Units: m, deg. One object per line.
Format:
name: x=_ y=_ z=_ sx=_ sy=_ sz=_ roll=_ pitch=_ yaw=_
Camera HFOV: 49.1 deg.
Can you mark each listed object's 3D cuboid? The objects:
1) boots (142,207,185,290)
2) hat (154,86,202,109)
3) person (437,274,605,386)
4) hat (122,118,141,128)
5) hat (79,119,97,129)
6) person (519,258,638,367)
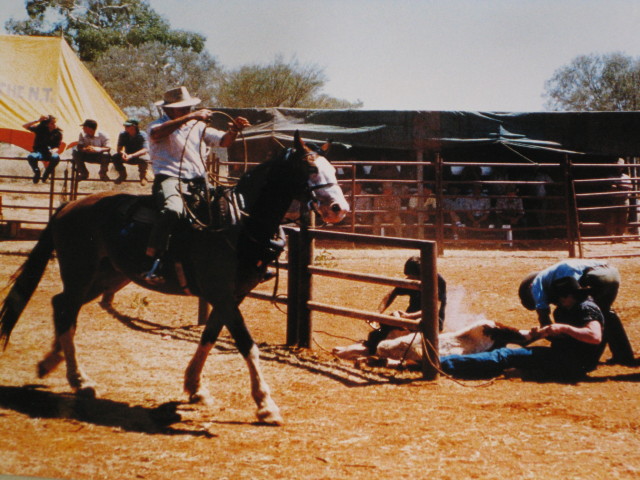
boots: x=-1.683 y=0.048 z=7.479 sx=0.286 sy=0.724 sz=0.612 roll=-1 pitch=-5 yaw=-10
hat: x=-1.590 y=-1.561 z=7.731 sx=0.394 sy=0.116 sz=0.331 roll=-3 pitch=11 yaw=7
person: x=2.445 y=1.202 z=8.610 sx=2.195 sy=0.781 sz=1.280 roll=-11 pitch=0 yaw=9
hat: x=-3.376 y=-2.031 z=12.356 sx=0.229 sy=0.105 sz=0.166 roll=39 pitch=38 yaw=7
hat: x=-4.631 y=-2.313 z=13.967 sx=0.232 sy=0.215 sz=0.332 roll=1 pitch=1 yaw=-12
person: x=3.295 y=0.802 z=8.533 sx=1.698 sy=1.329 sz=1.152 roll=0 pitch=0 yaw=17
